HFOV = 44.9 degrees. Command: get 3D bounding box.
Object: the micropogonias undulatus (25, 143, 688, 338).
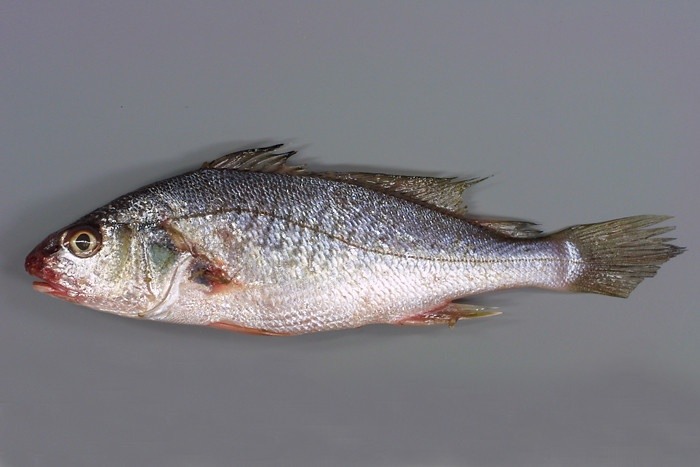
[{"bbox_3d":[-0.046,0.121,4.626,3.231,0.487,0.932,5,82,1],"label":"micropogonias undulatus"}]
